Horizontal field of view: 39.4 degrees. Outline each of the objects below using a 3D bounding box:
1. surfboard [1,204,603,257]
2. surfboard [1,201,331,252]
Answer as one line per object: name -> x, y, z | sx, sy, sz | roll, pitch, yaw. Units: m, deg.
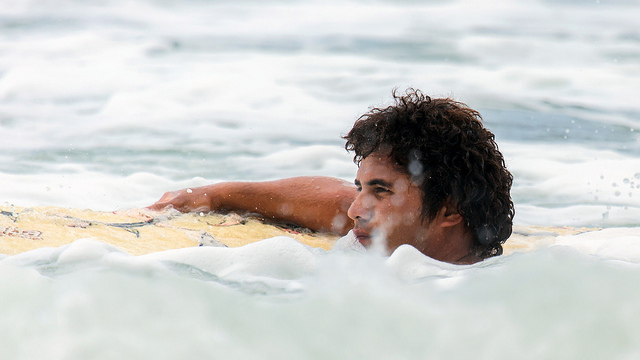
surfboard -> -0.303, 0.497, 8.541 | 4.365, 0.048, 0.463 | 4, 14, -5
surfboard -> -1.205, 0.477, 8.917 | 4.174, 0.100, 0.883 | 4, 14, -22
